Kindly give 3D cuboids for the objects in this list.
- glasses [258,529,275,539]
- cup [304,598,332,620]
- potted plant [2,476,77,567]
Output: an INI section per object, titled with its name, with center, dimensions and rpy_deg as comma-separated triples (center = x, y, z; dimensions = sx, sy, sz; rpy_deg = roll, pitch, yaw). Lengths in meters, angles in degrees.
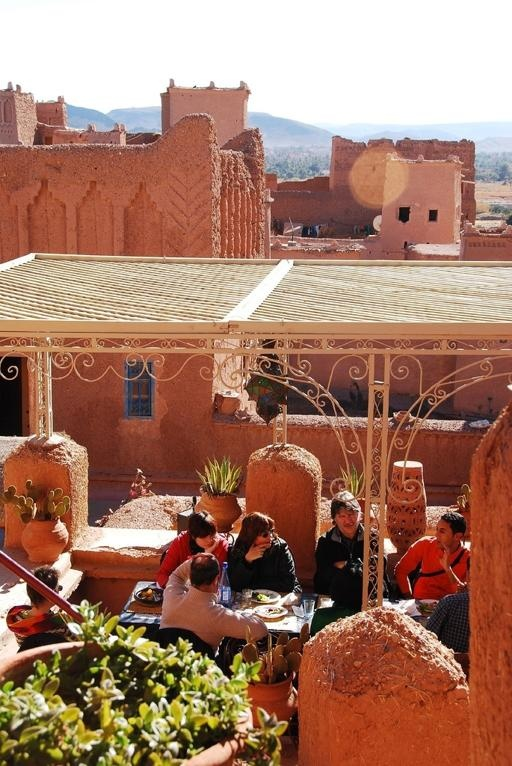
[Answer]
[glasses]
center = 0.063, 1.049, 5.119
dimensions = 0.101, 0.071, 0.126
rpy_deg = -2, 5, 5
[cup]
center = 0.391, 1.495, 4.898
dimensions = 0.180, 0.150, 0.131
rpy_deg = -4, -1, 17
[potted plant]
center = -1.845, 1.164, 6.268
dimensions = 0.493, 0.667, 0.382
rpy_deg = 2, 8, 4
